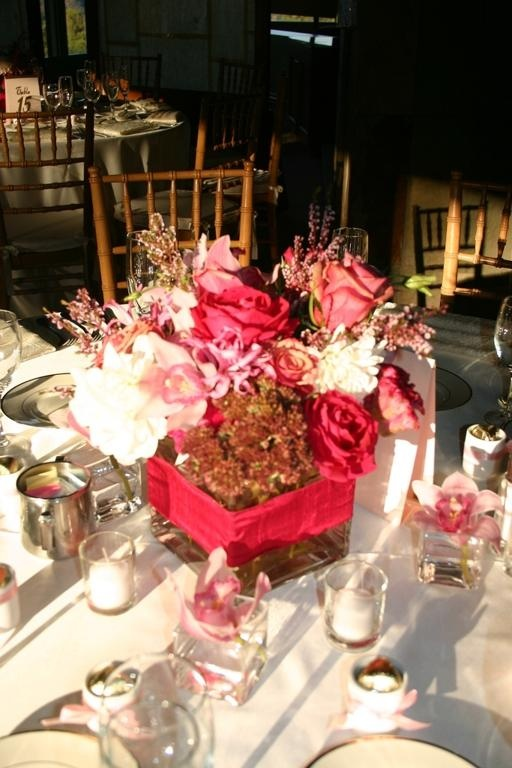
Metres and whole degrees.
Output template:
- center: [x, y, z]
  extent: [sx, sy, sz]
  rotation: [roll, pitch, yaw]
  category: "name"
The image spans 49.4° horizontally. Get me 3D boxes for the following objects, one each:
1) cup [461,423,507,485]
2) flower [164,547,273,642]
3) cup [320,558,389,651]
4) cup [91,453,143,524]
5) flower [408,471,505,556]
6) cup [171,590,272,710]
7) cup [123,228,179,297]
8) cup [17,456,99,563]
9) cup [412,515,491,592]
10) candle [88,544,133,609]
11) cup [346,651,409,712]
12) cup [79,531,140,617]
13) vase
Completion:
- center: [0.339, 0.099, 0.866]
  extent: [0.079, 0.081, 0.073]
  rotation: [2, 20, -1]
  category: "cup"
- center: [-0.028, 0.182, 0.474]
  extent: [0.086, 0.053, 0.060]
  rotation: [-15, 26, -41]
  category: "flower"
- center: [0.098, 0.229, 0.552]
  extent: [0.049, 0.055, 0.049]
  rotation: [4, -5, 0]
  category: "cup"
- center: [-0.189, 0.130, 0.765]
  extent: [0.070, 0.103, 0.106]
  rotation: [-6, -6, 4]
  category: "cup"
- center: [0.224, 0.139, 0.625]
  extent: [0.075, 0.033, 0.098]
  rotation: [-11, -3, -37]
  category: "flower"
- center: [-0.025, 0.244, 0.538]
  extent: [0.093, 0.089, 0.093]
  rotation: [-2, 21, 1]
  category: "cup"
- center: [-0.213, -0.229, 1.134]
  extent: [0.107, 0.157, 0.097]
  rotation: [-3, 12, 1]
  category: "cup"
- center: [-0.236, 0.151, 0.647]
  extent: [0.087, 0.079, 0.107]
  rotation: [1, 22, -16]
  category: "cup"
- center: [0.231, 0.200, 0.670]
  extent: [0.060, 0.072, 0.063]
  rotation: [-4, -2, 0]
  category: "cup"
- center: [-0.152, 0.215, 0.595]
  extent: [0.046, 0.051, 0.046]
  rotation: [0, -12, 3]
  category: "candle"
- center: [0.098, 0.236, 0.442]
  extent: [0.040, 0.029, 0.040]
  rotation: [-2, 35, 1]
  category: "cup"
- center: [-0.155, 0.215, 0.592]
  extent: [0.039, 0.043, 0.040]
  rotation: [4, 14, -1]
  category: "cup"
- center: [0.016, 0.142, 0.674]
  extent: [0.201, 0.100, 0.204]
  rotation: [6, 18, 39]
  category: "vase"
